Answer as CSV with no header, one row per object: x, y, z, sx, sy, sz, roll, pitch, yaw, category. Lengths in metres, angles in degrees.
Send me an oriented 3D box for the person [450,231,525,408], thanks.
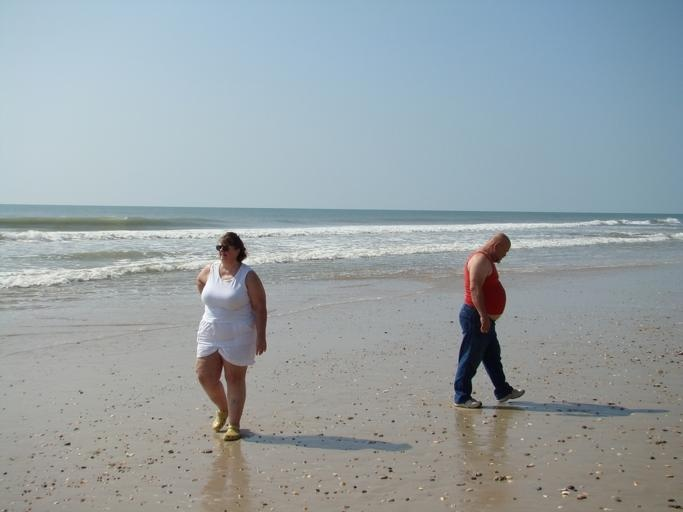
1.631,0.716,7.499,0.763,1.922,0.699,6,15,22,person

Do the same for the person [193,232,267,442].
-1.118,0.795,6.889,0.689,2.036,0.659,-3,14,-12,person

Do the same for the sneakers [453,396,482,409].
1.393,1.619,7.510,0.232,0.077,0.119,-3,-2,23,sneakers

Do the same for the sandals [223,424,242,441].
-1.096,1.787,6.857,0.158,0.094,0.262,1,-7,-10,sandals
